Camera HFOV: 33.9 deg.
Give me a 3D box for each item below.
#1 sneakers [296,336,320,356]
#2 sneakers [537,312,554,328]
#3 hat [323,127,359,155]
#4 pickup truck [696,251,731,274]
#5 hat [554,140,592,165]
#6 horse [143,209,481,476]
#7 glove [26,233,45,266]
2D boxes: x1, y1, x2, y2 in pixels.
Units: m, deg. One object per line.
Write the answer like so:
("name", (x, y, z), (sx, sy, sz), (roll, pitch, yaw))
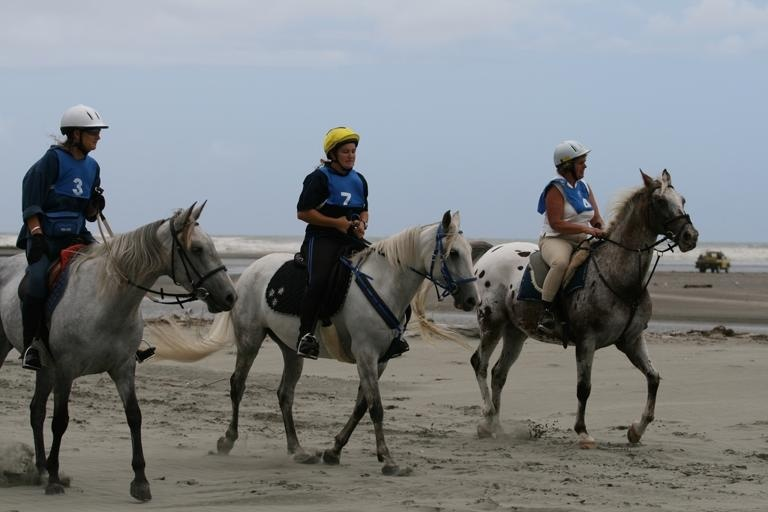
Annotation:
("sneakers", (-1.025, 1.219, 17.096), (0.295, 0.346, 0.209), (-1, 6, -7))
("sneakers", (2.463, 0.967, 18.962), (0.208, 0.252, 0.272), (3, 4, 7))
("hat", (-0.595, -1.583, 17.349), (0.446, 0.366, 0.641), (0, 5, 0))
("pickup truck", (19.545, 0.345, 74.108), (1.476, 1.033, 2.255), (4, 4, 28))
("hat", (2.821, -1.538, 19.003), (0.440, 0.361, 0.269), (5, 7, 39))
("horse", (-1.123, 1.261, 18.109), (5.850, 3.492, 1.355), (0, -6, 37))
("glove", (-4.483, -0.106, 16.095), (0.297, 0.349, 0.106), (4, -5, -6))
